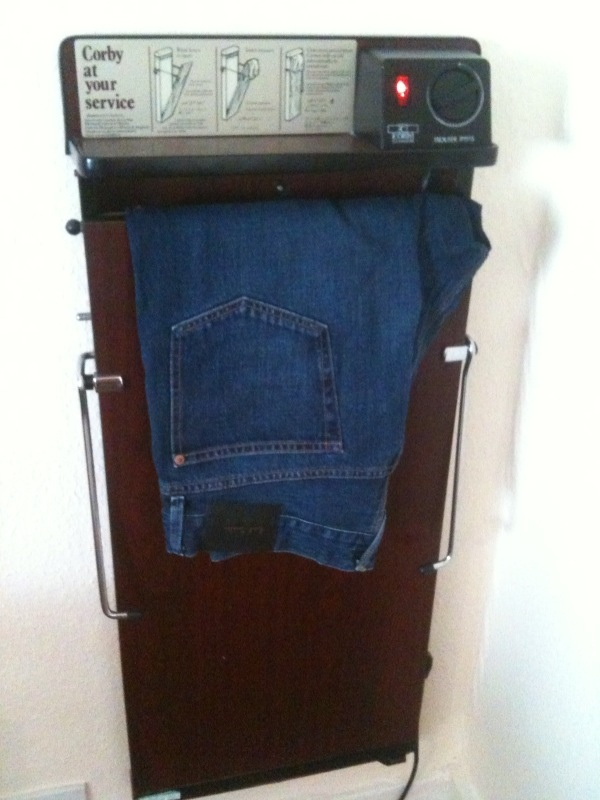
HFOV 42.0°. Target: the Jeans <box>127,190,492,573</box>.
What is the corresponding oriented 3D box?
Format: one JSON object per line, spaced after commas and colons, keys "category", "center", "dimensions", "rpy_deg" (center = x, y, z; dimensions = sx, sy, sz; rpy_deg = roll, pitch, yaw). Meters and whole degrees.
{"category": "Jeans", "center": [-0.006, -0.037, 1.121], "dimensions": [0.356, 0.636, 0.100], "rpy_deg": [-4, 19, -9]}
